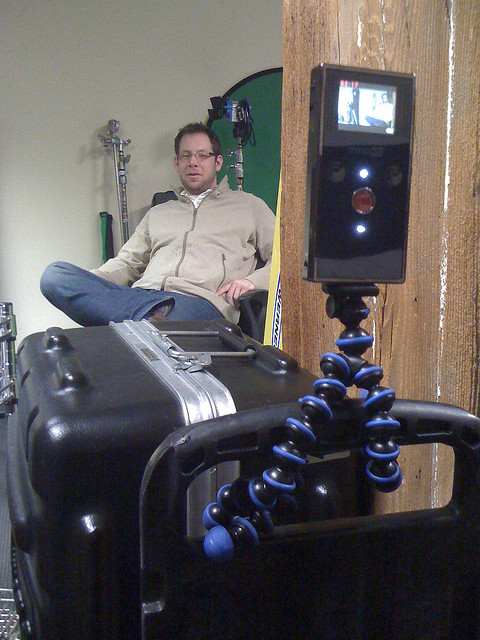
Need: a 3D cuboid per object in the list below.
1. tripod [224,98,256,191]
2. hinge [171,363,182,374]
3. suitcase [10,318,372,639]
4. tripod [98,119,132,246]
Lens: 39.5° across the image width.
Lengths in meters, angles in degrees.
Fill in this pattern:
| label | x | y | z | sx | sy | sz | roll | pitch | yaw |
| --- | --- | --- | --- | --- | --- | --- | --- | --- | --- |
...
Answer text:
| label | x | y | z | sx | sy | sz | roll | pitch | yaw |
| --- | --- | --- | --- | --- | --- | --- | --- | --- | --- |
| tripod | -0.004 | -0.820 | 3.280 | 0.135 | 0.501 | 0.129 | 2 | 12 | 15 |
| hinge | -0.066 | 0.050 | 0.679 | 0.007 | 0.002 | 0.008 | 20 | 37 | 21 |
| suitcase | -0.095 | 0.134 | 0.701 | 0.332 | 0.211 | 0.485 | 0 | 10 | -11 |
| tripod | -0.709 | -0.782 | 3.799 | 0.192 | 0.704 | 0.280 | -1 | 9 | -11 |
